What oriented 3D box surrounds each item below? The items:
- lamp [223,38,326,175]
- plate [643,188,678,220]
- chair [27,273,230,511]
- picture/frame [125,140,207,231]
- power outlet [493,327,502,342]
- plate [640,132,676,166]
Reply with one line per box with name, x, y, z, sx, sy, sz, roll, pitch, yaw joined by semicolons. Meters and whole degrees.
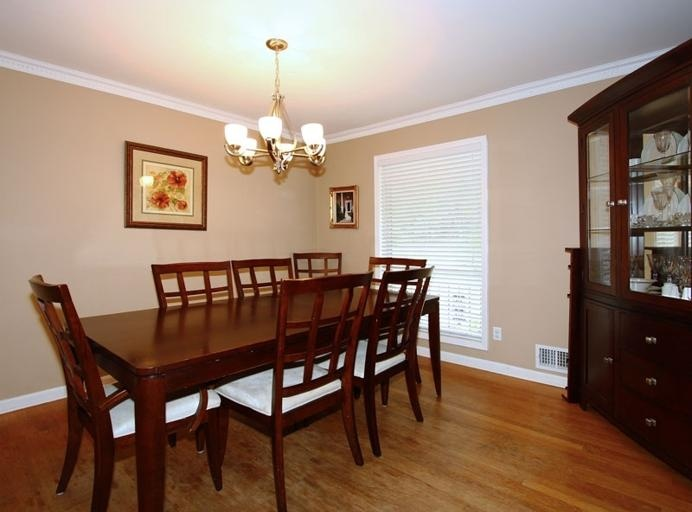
lamp;-0.553;-1.200;3.989;0.619;1.135;0.945;0;3;-4
plate;2.149;-0.313;3.389;0.151;0.271;0.172;12;-9;-35
chair;-1.498;0.751;3.611;1.289;2.048;1.155;-3;2;-43
picture/frame;-1.709;-0.654;4.629;0.830;0.996;0.063;2;-2;-43
power outlet;1.412;0.727;4.634;0.075;0.132;0.024;0;5;25
plate;2.117;-0.728;3.358;0.124;0.330;0.183;-4;1;-21
